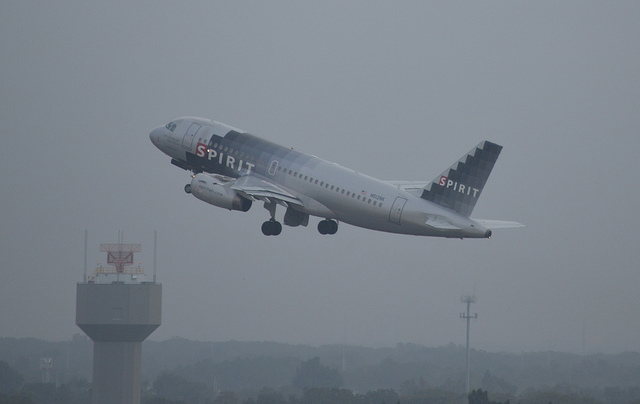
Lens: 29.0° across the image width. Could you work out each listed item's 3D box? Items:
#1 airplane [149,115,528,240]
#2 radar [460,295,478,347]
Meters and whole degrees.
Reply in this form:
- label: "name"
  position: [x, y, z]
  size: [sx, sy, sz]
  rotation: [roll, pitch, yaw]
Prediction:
- label: "airplane"
  position: [0.903, -0.817, 72.362]
  size: [22.466, 7.609, 7.216]
  rotation: [0, -1, 27]
- label: "radar"
  position: [9.504, 7.904, 78.930]
  size: [0.989, 3.390, 0.624]
  rotation: [10, -19, -16]
